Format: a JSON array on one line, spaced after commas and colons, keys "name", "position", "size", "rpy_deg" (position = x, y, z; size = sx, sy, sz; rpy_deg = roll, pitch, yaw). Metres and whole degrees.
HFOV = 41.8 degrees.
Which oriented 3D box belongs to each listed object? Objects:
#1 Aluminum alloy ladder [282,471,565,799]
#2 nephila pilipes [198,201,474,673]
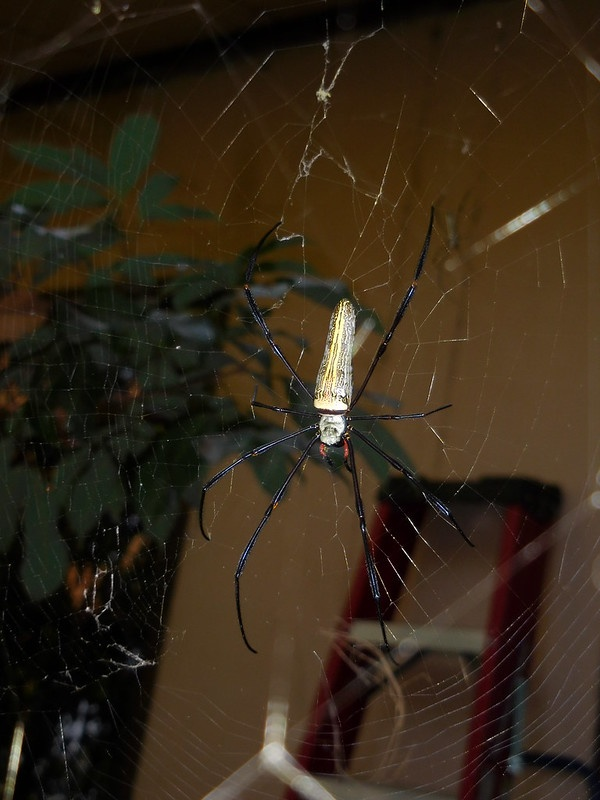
[{"name": "Aluminum alloy ladder", "position": [0.307, 0.500, 2.307], "size": [0.666, 1.109, 0.525], "rpy_deg": [-8, 12, -36]}, {"name": "nephila pilipes", "position": [0.093, 0.036, 2.219], "size": [0.841, 1.275, 0.255], "rpy_deg": [4, 10, 17]}]
